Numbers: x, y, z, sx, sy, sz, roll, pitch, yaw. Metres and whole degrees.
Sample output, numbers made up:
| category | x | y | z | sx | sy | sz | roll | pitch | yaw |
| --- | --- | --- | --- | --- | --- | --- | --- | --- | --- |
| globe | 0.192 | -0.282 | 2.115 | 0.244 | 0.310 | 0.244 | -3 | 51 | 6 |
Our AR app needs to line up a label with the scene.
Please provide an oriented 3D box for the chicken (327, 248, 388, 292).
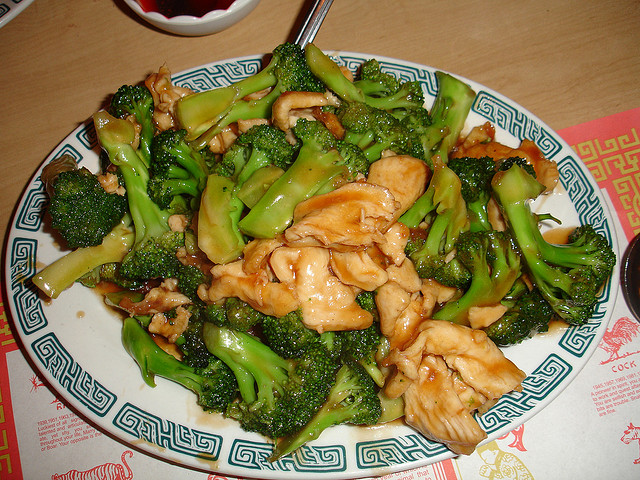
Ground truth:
| category | x | y | z | sx | sy | sz | roll | pitch | yaw |
| --- | --- | --- | --- | --- | --- | --- | --- | --- | --- |
| chicken | 0.235 | 0.191 | 3.721 | 0.330 | 0.115 | 0.278 | 24 | 97 | 6 |

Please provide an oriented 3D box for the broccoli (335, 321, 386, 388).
| category | x | y | z | sx | sy | sz | roll | pitch | yaw |
| --- | --- | --- | --- | --- | --- | --- | --- | --- | --- |
| broccoli | 0.303 | 0.740 | 3.947 | 0.278 | 0.209 | 0.490 | -26 | 86 | 14 |

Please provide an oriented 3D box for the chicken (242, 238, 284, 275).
| category | x | y | z | sx | sy | sz | roll | pitch | yaw |
| --- | --- | --- | --- | --- | --- | --- | --- | --- | --- |
| chicken | -0.395 | 0.138 | 3.773 | 0.227 | 0.085 | 0.246 | -35 | 33 | -1 |

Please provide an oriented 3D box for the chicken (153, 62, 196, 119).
| category | x | y | z | sx | sy | sz | roll | pitch | yaw |
| --- | --- | --- | --- | --- | --- | --- | --- | --- | --- |
| chicken | -1.082 | -1.046 | 4.159 | 0.254 | 0.125 | 0.410 | -29 | 93 | -19 |

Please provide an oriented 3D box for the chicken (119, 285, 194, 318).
| category | x | y | z | sx | sy | sz | roll | pitch | yaw |
| --- | --- | --- | --- | --- | --- | --- | --- | --- | --- |
| chicken | -1.184 | 0.440 | 4.066 | 0.512 | 0.094 | 0.184 | -15 | 84 | -1 |

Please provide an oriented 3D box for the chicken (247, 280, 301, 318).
| category | x | y | z | sx | sy | sz | roll | pitch | yaw |
| --- | --- | --- | --- | --- | --- | --- | --- | --- | --- |
| chicken | -0.308 | 0.396 | 3.696 | 0.343 | 0.093 | 0.229 | -6 | 84 | 0 |

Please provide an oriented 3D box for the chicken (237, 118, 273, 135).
| category | x | y | z | sx | sy | sz | roll | pitch | yaw |
| --- | --- | --- | --- | --- | --- | --- | --- | --- | --- |
| chicken | -0.465 | -0.827 | 3.981 | 0.177 | 0.074 | 0.138 | -9 | 47 | -8 |

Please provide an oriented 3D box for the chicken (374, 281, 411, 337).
| category | x | y | z | sx | sy | sz | roll | pitch | yaw |
| --- | --- | --- | --- | --- | --- | --- | --- | --- | --- |
| chicken | 0.497 | 0.473 | 3.867 | 0.222 | 0.140 | 0.371 | -12 | 84 | 0 |

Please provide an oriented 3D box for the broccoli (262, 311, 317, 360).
| category | x | y | z | sx | sy | sz | roll | pitch | yaw |
| --- | --- | --- | --- | --- | --- | --- | --- | --- | --- |
| broccoli | -0.229 | 0.718 | 3.874 | 0.324 | 0.328 | 0.131 | 6 | 78 | 29 |

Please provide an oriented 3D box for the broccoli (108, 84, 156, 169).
| category | x | y | z | sx | sy | sz | roll | pitch | yaw |
| --- | --- | --- | --- | --- | --- | --- | --- | --- | --- |
| broccoli | -1.329 | -0.794 | 4.010 | 0.229 | 0.271 | 0.610 | 5 | 52 | -37 |

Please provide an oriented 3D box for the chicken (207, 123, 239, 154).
| category | x | y | z | sx | sy | sz | roll | pitch | yaw |
| --- | --- | --- | --- | --- | --- | --- | --- | --- | --- |
| chicken | -0.704 | -0.733 | 4.132 | 0.227 | 0.173 | 0.084 | -46 | 53 | 9 |

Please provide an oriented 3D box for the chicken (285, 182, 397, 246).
| category | x | y | z | sx | sy | sz | roll | pitch | yaw |
| --- | --- | --- | --- | --- | --- | --- | --- | --- | --- |
| chicken | 0.137 | -0.175 | 3.669 | 0.716 | 0.145 | 0.422 | 1 | 84 | 1 |
